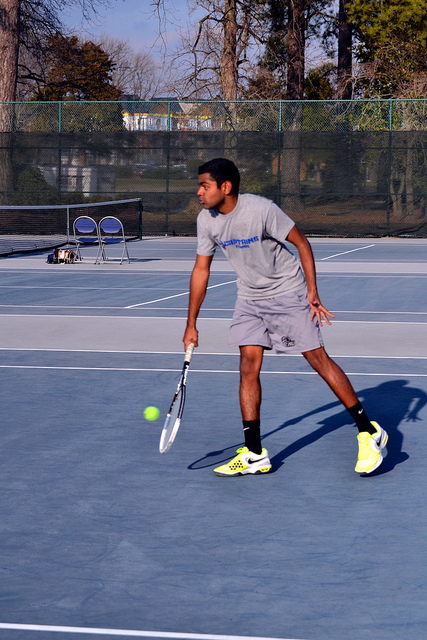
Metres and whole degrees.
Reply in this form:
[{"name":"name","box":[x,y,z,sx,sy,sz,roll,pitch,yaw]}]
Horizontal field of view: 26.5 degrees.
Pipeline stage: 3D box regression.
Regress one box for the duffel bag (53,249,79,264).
[{"name":"duffel bag","box":[-3.379,-1.429,20.663,0.293,0.200,0.445,-2,0,6]}]

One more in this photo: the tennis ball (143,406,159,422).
[{"name":"tennis ball","box":[-0.429,0.652,6.299,0.078,0.066,0.066,-36,12,16]}]
